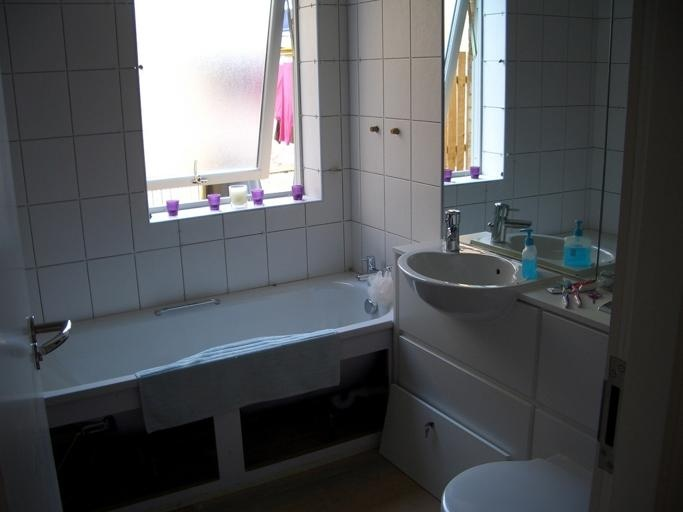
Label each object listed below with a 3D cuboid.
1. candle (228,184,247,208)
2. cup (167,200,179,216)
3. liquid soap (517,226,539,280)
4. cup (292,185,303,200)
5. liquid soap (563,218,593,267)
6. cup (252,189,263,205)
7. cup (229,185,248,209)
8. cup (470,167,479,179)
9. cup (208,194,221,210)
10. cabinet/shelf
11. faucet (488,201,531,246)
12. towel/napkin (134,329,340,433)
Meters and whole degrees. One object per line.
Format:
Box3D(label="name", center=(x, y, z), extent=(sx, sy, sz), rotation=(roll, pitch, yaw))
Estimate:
Box3D(label="candle", center=(-0.661, -0.403, 3.543), extent=(0.095, 0.135, 0.126), rotation=(5, 18, 30))
Box3D(label="cup", center=(-1.034, -0.301, 3.322), extent=(0.077, 0.098, 0.082), rotation=(1, 11, 0))
Box3D(label="liquid soap", center=(0.780, -0.006, 2.262), extent=(0.066, 0.160, 0.210), rotation=(1, 17, 19))
Box3D(label="cup", center=(-0.296, -0.439, 3.683), extent=(0.081, 0.102, 0.083), rotation=(1, 20, -1))
Box3D(label="liquid soap", center=(0.974, -0.047, 2.238), extent=(0.055, 0.191, 0.121), rotation=(-11, 17, -26))
Box3D(label="cup", center=(-0.553, -0.401, 3.589), extent=(0.073, 0.101, 0.089), rotation=(-7, 16, -11))
Box3D(label="cup", center=(-0.663, -0.390, 3.572), extent=(0.127, 0.158, 0.132), rotation=(1, 22, 0))
Box3D(label="cup", center=(0.653, -0.422, 2.699), extent=(0.045, 0.059, 0.048), rotation=(1, 17, 0))
Box3D(label="cup", center=(-0.809, -0.349, 3.451), extent=(0.087, 0.103, 0.088), rotation=(0, 5, 0))
Box3D(label="cabinet/shelf", center=(0.702, 0.604, 2.572), extent=(0.418, 1.069, 1.126), rotation=(-13, 17, -27))
Box3D(label="faucet", center=(0.792, -0.152, 2.560), extent=(0.208, 0.184, 0.077), rotation=(12, 27, 33))
Box3D(label="towel/napkin", center=(-0.458, 0.604, 2.635), extent=(0.973, 0.287, 0.076), rotation=(-11, 16, -22))
